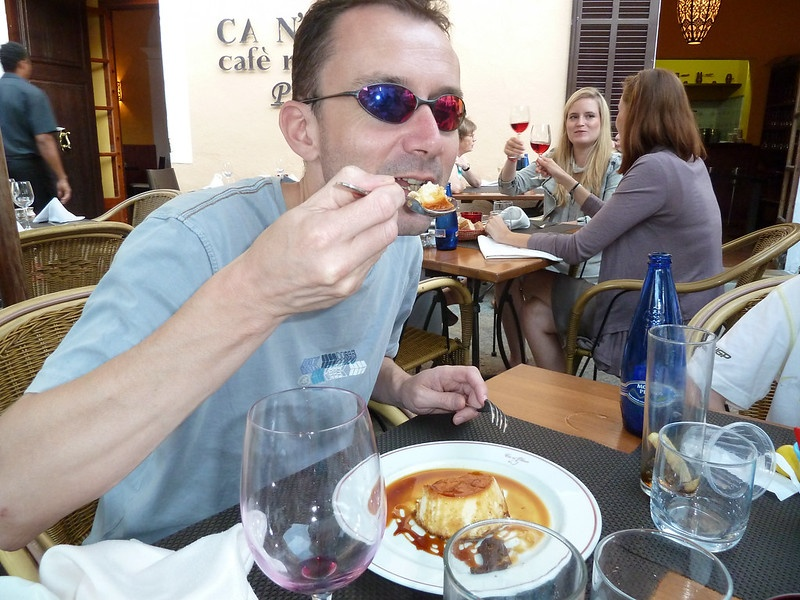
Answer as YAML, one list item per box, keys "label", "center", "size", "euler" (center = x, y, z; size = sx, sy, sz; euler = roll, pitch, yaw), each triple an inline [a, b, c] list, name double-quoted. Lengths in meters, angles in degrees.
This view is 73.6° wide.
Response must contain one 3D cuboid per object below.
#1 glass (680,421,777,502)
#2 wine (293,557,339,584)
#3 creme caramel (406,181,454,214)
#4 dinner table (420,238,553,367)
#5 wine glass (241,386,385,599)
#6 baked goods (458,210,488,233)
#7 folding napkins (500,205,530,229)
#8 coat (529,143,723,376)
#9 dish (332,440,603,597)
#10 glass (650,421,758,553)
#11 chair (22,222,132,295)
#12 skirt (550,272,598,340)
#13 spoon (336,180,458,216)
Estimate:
- label: "glass"
  center: [0.617, 0.300, 0.995]
  size: [0.133, 0.134, 0.056]
  euler: [27, 1, -4]
- label: "wine"
  center: [-0.107, 0.337, 0.664]
  size: [0.033, 0.008, 0.033]
  euler: [1, 6, 18]
- label: "creme caramel"
  center: [0.070, -0.237, 1.281]
  size: [0.099, 0.040, 0.104]
  euler: [-3, 22, -6]
- label: "dinner table"
  center: [0.382, -0.023, 2.727]
  size: [0.634, 0.563, 0.639]
  euler: [10, 0, 23]
- label: "wine glass"
  center: [-0.121, 0.243, 0.707]
  size: [0.177, 0.208, 0.171]
  euler: [-9, 21, -17]
- label: "baked goods"
  center: [0.450, -0.482, 3.399]
  size: [0.179, 0.130, 0.187]
  euler: [-1, 6, -3]
- label: "folding napkins"
  center: [0.713, -0.514, 3.391]
  size: [0.171, 0.061, 0.169]
  euler: [-10, 36, -32]
- label: "coat"
  center: [1.163, -0.370, 3.090]
  size: [1.060, 1.132, 0.952]
  euler: [-14, 30, -9]
- label: "dish"
  center: [0.097, 0.325, 0.786]
  size: [0.263, 0.033, 0.254]
  euler: [1, 13, 4]
- label: "glass"
  center: [0.481, 0.303, 0.852]
  size: [0.132, 0.131, 0.124]
  euler: [-3, 20, -12]
- label: "chair"
  center: [-1.326, -0.171, 2.153]
  size: [0.206, 0.278, 0.243]
  euler: [36, 29, 7]
- label: "skirt"
  center: [0.947, 0.005, 2.998]
  size: [0.269, 0.363, 0.357]
  euler: [-5, 10, 3]
- label: "spoon"
  center: [-0.004, -0.207, 1.213]
  size: [0.245, 0.040, 0.097]
  euler: [19, 11, 23]
